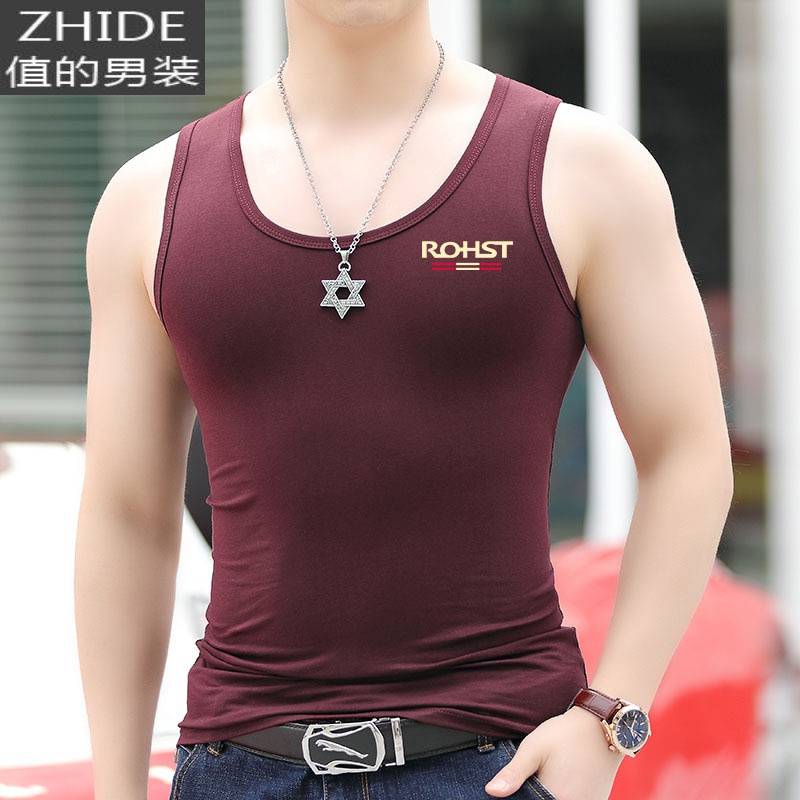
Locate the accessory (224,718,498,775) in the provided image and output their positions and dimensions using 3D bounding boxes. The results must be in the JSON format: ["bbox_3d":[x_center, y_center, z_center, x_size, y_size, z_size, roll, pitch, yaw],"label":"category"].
[{"bbox_3d":[-0.040,0.417,1.354,0.212,0.038,0.103,-2,-3,-1],"label":"accessory"}]

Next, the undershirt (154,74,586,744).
[{"bbox_3d":[0.057,-0.026,1.558,0.664,0.903,0.433,5,9,44],"label":"undershirt"}]
